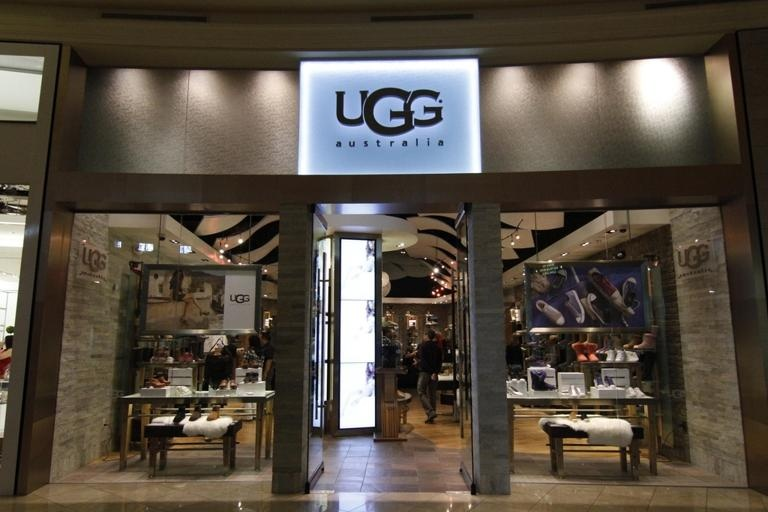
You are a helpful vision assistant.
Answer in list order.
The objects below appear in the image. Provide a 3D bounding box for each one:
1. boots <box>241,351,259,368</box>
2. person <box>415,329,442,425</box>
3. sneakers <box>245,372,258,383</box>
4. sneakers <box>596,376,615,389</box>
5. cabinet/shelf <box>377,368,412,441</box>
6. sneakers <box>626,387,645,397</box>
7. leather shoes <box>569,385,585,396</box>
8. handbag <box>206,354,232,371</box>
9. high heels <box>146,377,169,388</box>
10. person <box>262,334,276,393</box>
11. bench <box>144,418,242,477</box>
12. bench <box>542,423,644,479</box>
[{"bbox_3d":[-1.914,1.477,8.687,0.265,0.241,0.253,1,1,-1],"label":"boots"},{"bbox_3d":[0.909,2.341,11.862,0.467,1.782,0.991,-1,-2,4],"label":"person"},{"bbox_3d":[-1.915,1.746,8.644,0.150,0.110,0.171,4,-4,-3],"label":"sneakers"},{"bbox_3d":[3.108,1.769,8.413,0.170,0.062,0.217,0,5,13],"label":"sneakers"},{"bbox_3d":[0.096,2.496,10.272,0.533,1.163,0.797,0,-2,2],"label":"cabinet/shelf"},{"bbox_3d":[3.481,1.888,8.353,0.124,0.070,0.188,8,-12,-35],"label":"sneakers"},{"bbox_3d":[2.680,1.877,8.381,0.159,0.136,0.124,-22,-23,37],"label":"leather shoes"},{"bbox_3d":[-2.380,1.504,8.543,0.339,0.212,0.231,1,-1,-4],"label":"handbag"},{"bbox_3d":[-3.256,1.806,8.605,0.208,0.081,0.150,-2,-3,8],"label":"high heels"},{"bbox_3d":[-1.674,1.496,8.612,0.149,0.861,0.264,0,-2,-15],"label":"person"},{"bbox_3d":[-2.718,2.620,8.568,1.259,0.737,0.867,0,-2,-13],"label":"bench"},{"bbox_3d":[2.782,2.576,8.116,1.168,0.651,0.769,2,-22,-2],"label":"bench"}]
